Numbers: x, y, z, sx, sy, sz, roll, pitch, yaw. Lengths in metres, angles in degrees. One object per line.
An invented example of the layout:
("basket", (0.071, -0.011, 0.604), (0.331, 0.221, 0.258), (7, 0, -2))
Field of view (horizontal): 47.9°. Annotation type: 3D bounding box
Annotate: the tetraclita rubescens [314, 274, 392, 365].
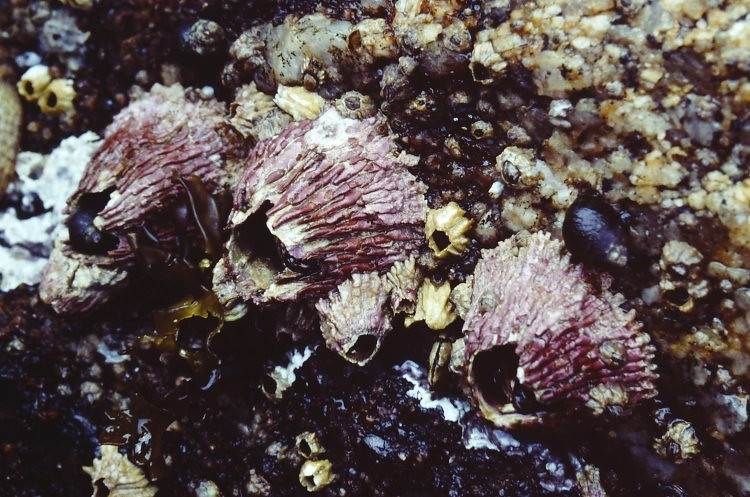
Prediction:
("tetraclita rubescens", (-0.172, 0.598, 7.065), (0.686, 0.742, 0.318), (-11, 10, -6))
